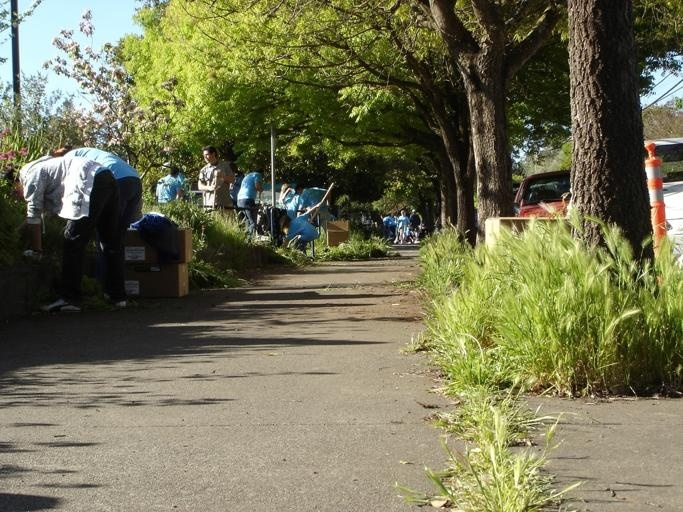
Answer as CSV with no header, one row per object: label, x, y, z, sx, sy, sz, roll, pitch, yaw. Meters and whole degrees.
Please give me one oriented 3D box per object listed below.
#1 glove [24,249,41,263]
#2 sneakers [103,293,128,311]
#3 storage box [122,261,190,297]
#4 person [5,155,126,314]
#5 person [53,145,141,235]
glove,-3.543,-0.011,8.951,0.171,0.133,0.274,5,-1,-6
sneakers,-2.778,0.539,9.436,0.363,0.188,0.135,5,4,3
storage box,-2.523,0.345,10.625,0.473,0.361,0.535,0,0,2
person,-3.010,-0.280,8.915,1.176,1.539,0.677,-1,0,-34
person,-3.190,-0.690,9.954,1.665,1.006,0.470,-17,-11,29
